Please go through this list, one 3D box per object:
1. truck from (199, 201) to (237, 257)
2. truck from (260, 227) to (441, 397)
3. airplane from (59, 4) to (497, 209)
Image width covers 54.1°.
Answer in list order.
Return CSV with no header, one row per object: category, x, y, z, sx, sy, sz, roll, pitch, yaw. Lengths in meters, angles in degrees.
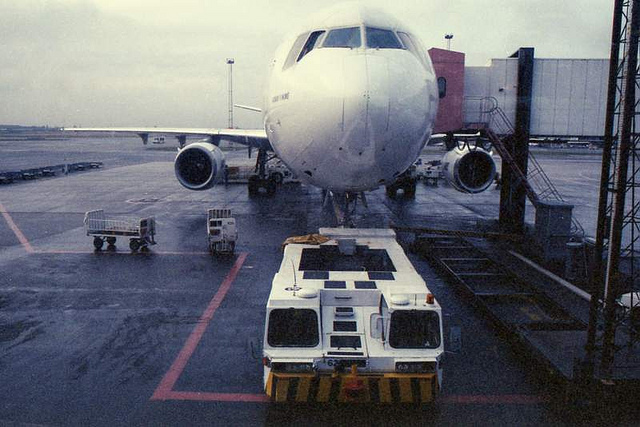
truck,-4.223,0.611,25.891,1.482,1.643,2.833,0,16,-2
truck,0.701,2.612,17.631,4.278,3.131,7.571,1,9,-1
airplane,0.256,-3.614,21.105,9.580,3.755,11.328,-1,12,-8
